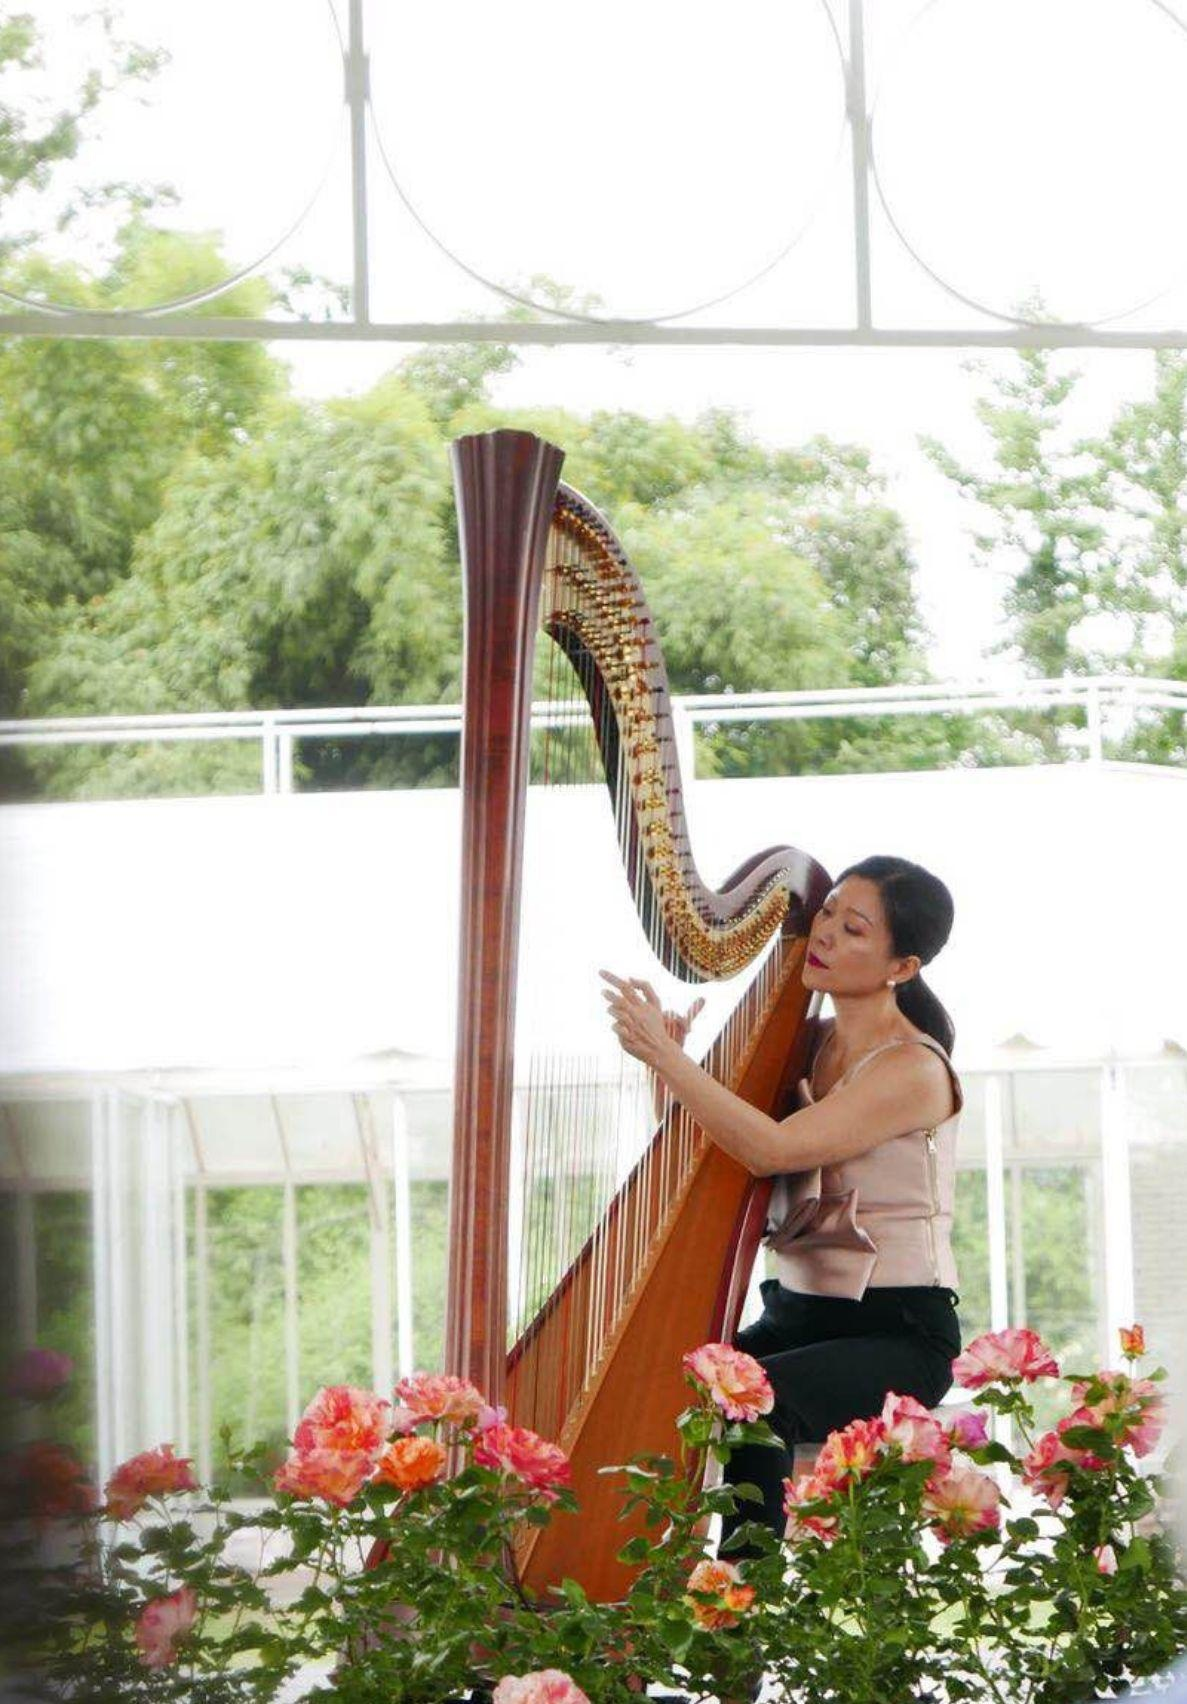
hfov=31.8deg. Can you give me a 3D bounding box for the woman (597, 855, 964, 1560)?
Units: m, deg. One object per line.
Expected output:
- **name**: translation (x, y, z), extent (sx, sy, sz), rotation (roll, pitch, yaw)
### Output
- **woman**: translation (0.255, 0.382, 2.343), extent (0.342, 0.759, 0.401), rotation (4, -3, -13)

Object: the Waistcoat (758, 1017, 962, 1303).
- **Waistcoat**: translation (0.311, 0.366, 2.500), extent (0.202, 0.333, 0.285), rotation (6, -11, -25)

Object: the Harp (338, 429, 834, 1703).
- **Harp**: translation (0.001, 0.167, 1.874), extent (0.335, 1.062, 0.367), rotation (-2, -2, 12)
